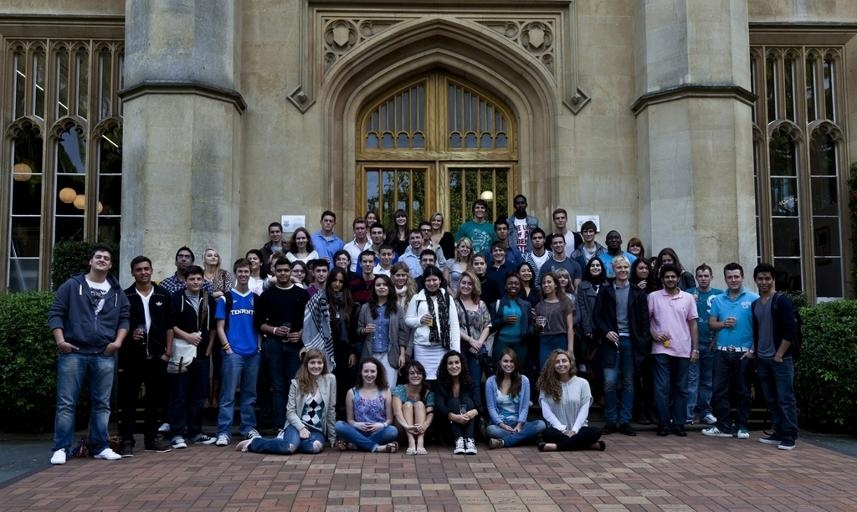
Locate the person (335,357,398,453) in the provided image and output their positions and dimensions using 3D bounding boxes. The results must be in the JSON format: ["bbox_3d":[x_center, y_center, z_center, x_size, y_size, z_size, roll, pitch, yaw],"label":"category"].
[{"bbox_3d":[-0.977,2.388,14.454,1.023,1.427,1.030,-2,-1,-3],"label":"person"}]

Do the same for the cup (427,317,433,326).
[{"bbox_3d":[0.041,1.096,14.874,0.103,0.168,0.107,3,-6,0],"label":"cup"}]

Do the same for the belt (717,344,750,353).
[{"bbox_3d":[5.073,1.555,15.165,0.533,0.124,0.114,-2,-2,29],"label":"belt"}]

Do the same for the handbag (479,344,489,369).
[{"bbox_3d":[0.931,1.716,15.244,0.123,0.439,0.175,0,-10,-8],"label":"handbag"}]

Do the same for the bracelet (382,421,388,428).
[{"bbox_3d":[-0.688,2.702,14.466,0.075,0.056,0.075,2,-9,-10],"label":"bracelet"}]

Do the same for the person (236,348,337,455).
[{"bbox_3d":[-2.081,2.363,14.390,1.510,1.644,1.026,0,6,-37],"label":"person"}]
